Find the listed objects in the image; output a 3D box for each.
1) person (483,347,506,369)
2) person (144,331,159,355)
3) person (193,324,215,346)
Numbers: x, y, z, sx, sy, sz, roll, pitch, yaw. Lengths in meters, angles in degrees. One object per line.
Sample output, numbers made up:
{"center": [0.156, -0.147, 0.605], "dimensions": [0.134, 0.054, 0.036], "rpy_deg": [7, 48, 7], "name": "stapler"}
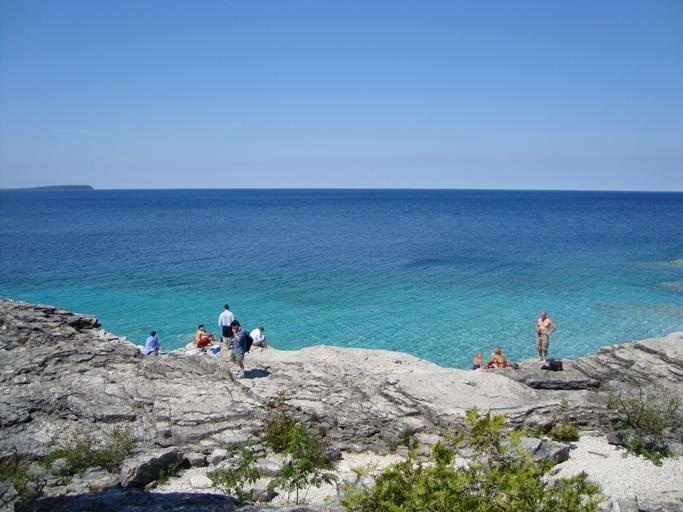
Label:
{"center": [7.477, 4.883, 24.351], "dimensions": [1.006, 1.040, 1.176], "rpy_deg": [2, 10, 14], "name": "person"}
{"center": [-10.288, 4.653, 27.170], "dimensions": [0.818, 1.253, 0.929], "rpy_deg": [-4, 11, -19], "name": "person"}
{"center": [-7.998, 4.631, 29.092], "dimensions": [1.022, 1.174, 1.384], "rpy_deg": [0, 9, 4], "name": "person"}
